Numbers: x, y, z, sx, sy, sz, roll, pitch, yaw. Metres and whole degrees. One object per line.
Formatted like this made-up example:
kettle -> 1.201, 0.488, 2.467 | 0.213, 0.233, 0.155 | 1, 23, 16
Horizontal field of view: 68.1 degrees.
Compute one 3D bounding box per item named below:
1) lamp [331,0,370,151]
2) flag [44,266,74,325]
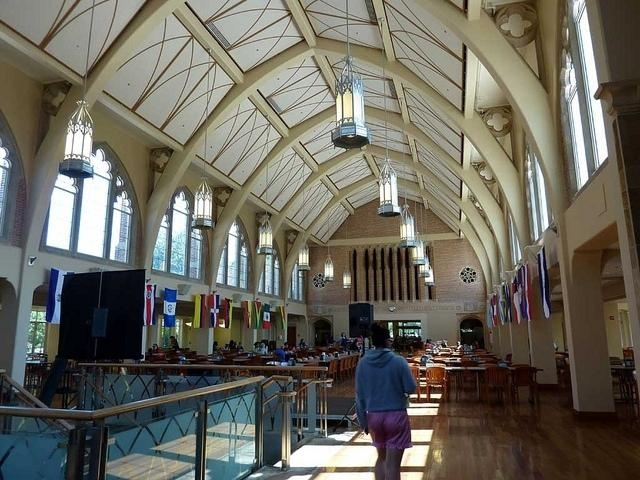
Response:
lamp -> 0.501, -2.460, 8.066 | 0.610, 1.788, 0.460 | -3, -11, 7
flag -> -7.699, 1.602, 13.830 | 0.463, 1.643, 0.721 | 5, -14, -32
